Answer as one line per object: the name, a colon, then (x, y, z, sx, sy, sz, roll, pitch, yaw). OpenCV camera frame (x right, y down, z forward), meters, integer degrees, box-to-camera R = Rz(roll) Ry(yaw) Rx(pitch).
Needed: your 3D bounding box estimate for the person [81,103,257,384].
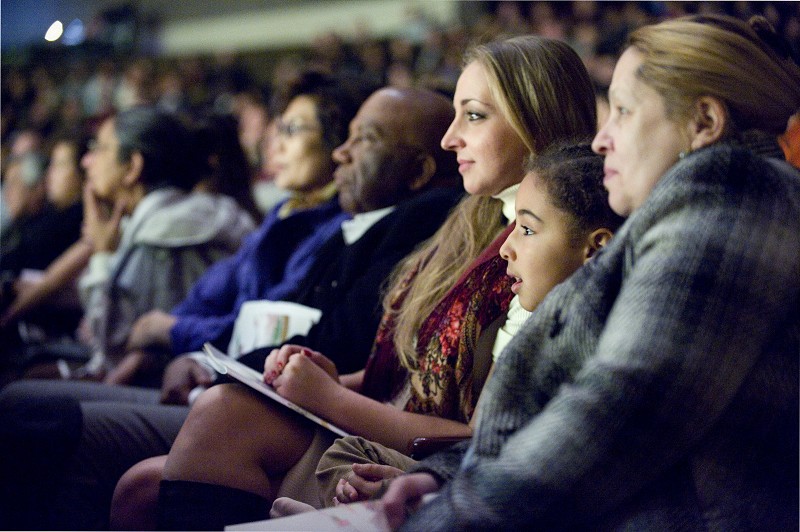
person: (-1.107, 0.059, 3.711, 0.846, 1.684, 0.772, -1, 42, -25)
